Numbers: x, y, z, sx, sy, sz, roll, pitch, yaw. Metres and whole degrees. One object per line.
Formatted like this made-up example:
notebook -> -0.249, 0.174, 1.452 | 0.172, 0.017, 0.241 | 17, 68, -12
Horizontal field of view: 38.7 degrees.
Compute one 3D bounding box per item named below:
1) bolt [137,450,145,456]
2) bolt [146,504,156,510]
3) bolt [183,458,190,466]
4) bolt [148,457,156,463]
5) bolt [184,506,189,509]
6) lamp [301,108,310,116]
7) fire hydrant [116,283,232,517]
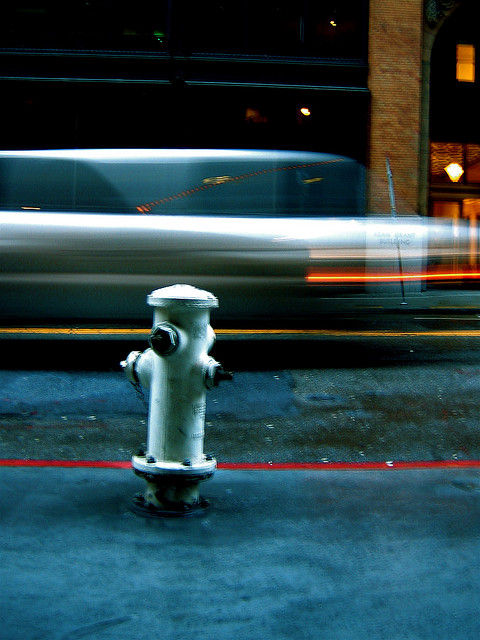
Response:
bolt -> -0.542, 0.723, 3.735 | 0.035, 0.028, 0.032 | 4, -5, -32
bolt -> -0.465, 0.979, 3.581 | 0.057, 0.014, 0.026 | 2, 5, 9
bolt -> -0.278, 0.742, 3.566 | 0.035, 0.020, 0.029 | 1, -4, -2
bolt -> -0.463, 0.735, 3.600 | 0.037, 0.021, 0.032 | 1, 6, -12
bolt -> -0.281, 0.985, 3.600 | 0.019, 0.013, 0.012 | -2, 7, -32
lamp -> 1.931, -6.205, 20.279 | 0.206, 0.205, 0.058 | -4, 3, 10
fire hydrant -> -0.319, 0.413, 3.673 | 0.503, 1.198, 0.429 | 2, 7, -8
